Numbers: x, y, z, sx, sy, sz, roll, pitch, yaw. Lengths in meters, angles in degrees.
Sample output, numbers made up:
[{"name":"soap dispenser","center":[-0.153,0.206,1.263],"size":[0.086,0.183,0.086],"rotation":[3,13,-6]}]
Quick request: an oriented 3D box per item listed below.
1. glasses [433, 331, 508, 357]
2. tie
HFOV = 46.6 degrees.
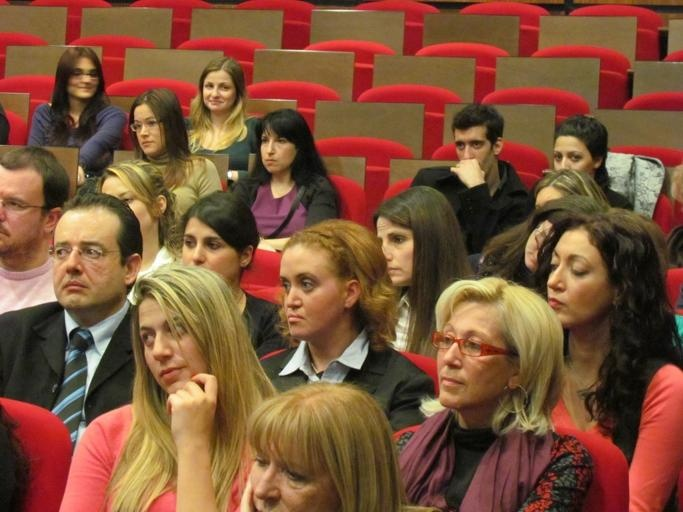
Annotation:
[{"name":"glasses","center":[0.361,0.251,2.209],"size":[0.213,0.058,0.052],"rotation":[6,-4,11]},{"name":"tie","center":[-0.914,0.433,2.690],"size":[0.108,0.344,0.216],"rotation":[6,-4,-14]}]
